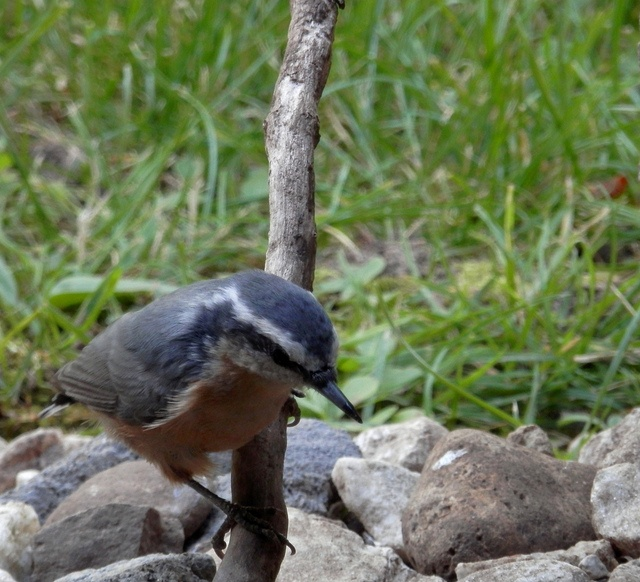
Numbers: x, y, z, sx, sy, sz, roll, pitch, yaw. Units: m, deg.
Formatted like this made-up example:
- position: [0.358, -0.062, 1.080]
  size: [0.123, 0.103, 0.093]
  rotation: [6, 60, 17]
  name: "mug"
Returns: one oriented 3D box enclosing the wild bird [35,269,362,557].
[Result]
- position: [-0.358, 0.244, 2.790]
  size: [1.440, 0.877, 0.649]
  rotation: [15, 16, 27]
  name: "wild bird"
